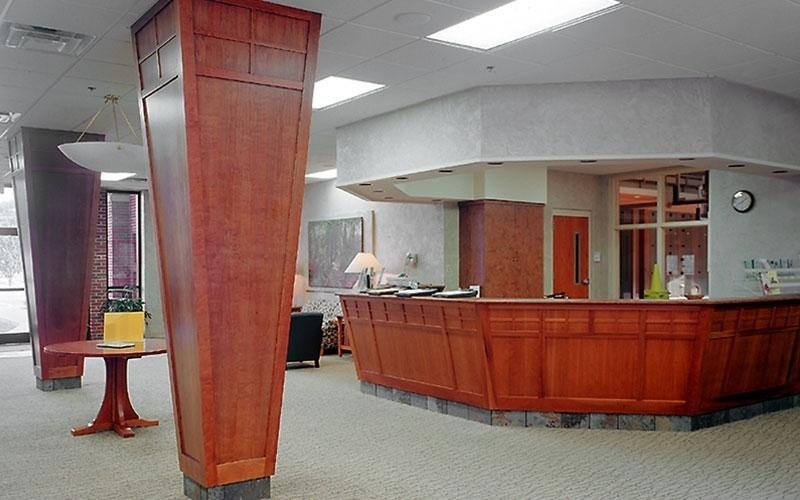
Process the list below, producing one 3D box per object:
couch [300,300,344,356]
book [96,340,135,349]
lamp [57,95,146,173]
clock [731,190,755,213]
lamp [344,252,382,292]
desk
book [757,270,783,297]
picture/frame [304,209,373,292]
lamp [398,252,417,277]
[{"bbox_3d":[-2.002,1.784,13.234,1.268,1.067,0.972,15,8,15],"label":"couch"},{"bbox_3d":[-3.669,1.235,7.006,0.505,0.042,0.450,-1,2,-14],"label":"book"},{"bbox_3d":[-4.328,-1.681,7.786,0.739,0.836,1.214,-7,-12,5],"label":"lamp"},{"bbox_3d":[6.198,-0.859,9.778,0.420,0.408,0.070,-1,3,-5],"label":"clock"},{"bbox_3d":[-0.846,0.516,12.395,0.995,0.896,0.979,2,12,1],"label":"lamp"},{"bbox_3d":[-3.803,1.899,7.288,1.671,0.979,1.572,1,-5,-19],"label":"desk"},{"bbox_3d":[6.633,0.574,9.673,0.364,0.422,0.353,0,3,14],"label":"book"},{"bbox_3d":[-1.711,0.126,13.920,0.195,1.778,2.355,-1,0,29],"label":"picture/frame"},{"bbox_3d":[0.167,0.317,11.907,0.281,0.543,0.472,-3,4,-35],"label":"lamp"}]
